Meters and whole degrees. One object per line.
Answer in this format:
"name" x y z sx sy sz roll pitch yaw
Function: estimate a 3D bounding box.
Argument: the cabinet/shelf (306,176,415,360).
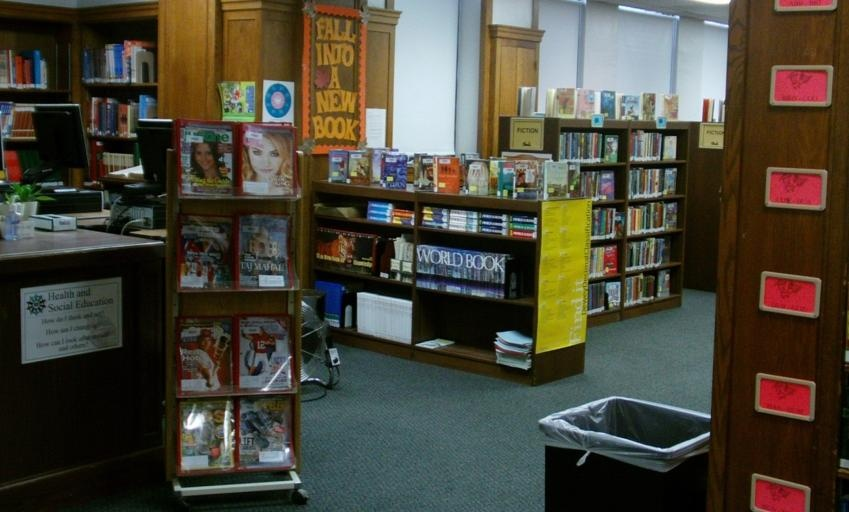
"cabinet/shelf" -0.633 0.154 7.034 1.860 1.698 0.603 6 7 42

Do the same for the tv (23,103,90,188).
"tv" -3.403 -1.067 6.276 0.533 0.684 0.410 -2 13 -13

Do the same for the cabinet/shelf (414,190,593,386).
"cabinet/shelf" 0.766 0.279 6.444 1.821 1.653 0.777 5 6 40
